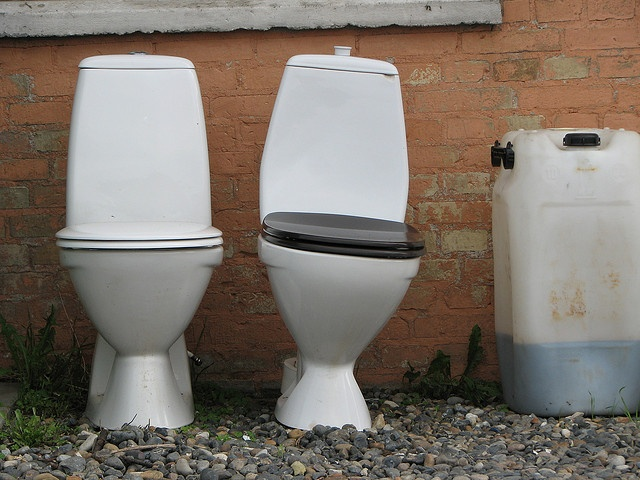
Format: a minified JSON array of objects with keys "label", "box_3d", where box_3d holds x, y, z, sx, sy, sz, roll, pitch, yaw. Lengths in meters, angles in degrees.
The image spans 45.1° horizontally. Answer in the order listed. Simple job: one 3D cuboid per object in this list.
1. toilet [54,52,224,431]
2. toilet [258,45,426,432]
[{"label":"toilet","box_3d":[-0.616,-0.019,2.629,0.515,1.246,0.532,-2,12,-16]},{"label":"toilet","box_3d":[0.052,-0.023,2.588,0.516,1.263,0.577,1,11,-4]}]
